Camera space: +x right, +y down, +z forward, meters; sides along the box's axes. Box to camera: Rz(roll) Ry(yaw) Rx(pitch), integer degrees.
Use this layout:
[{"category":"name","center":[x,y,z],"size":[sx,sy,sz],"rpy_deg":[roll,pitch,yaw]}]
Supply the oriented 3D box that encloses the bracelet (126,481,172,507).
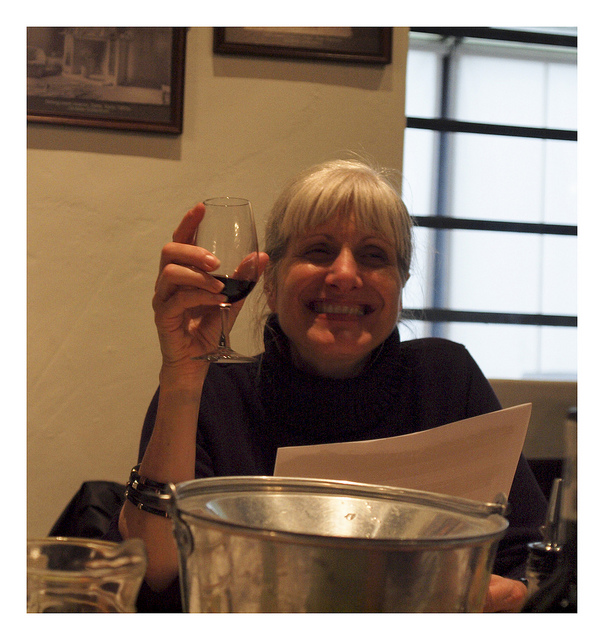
[{"category":"bracelet","center":[-0.214,0.243,1.078],"size":[0.063,0.019,0.068],"rpy_deg":[17,-3,-16]}]

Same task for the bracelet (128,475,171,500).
[{"category":"bracelet","center":[-0.214,0.237,1.086],"size":[0.053,0.016,0.059],"rpy_deg":[19,-4,10]}]

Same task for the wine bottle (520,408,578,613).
[{"category":"wine bottle","center":[0.404,0.284,1.223],"size":[0.109,0.313,0.136],"rpy_deg":[2,3,7]}]

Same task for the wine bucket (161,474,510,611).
[{"category":"wine bucket","center":[0.044,0.264,0.852],"size":[0.348,0.142,0.252],"rpy_deg":[5,-1,17]}]

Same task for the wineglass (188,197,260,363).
[{"category":"wineglass","center":[-0.107,-0.055,1.059],"size":[0.091,0.219,0.187],"rpy_deg":[4,0,-8]}]
